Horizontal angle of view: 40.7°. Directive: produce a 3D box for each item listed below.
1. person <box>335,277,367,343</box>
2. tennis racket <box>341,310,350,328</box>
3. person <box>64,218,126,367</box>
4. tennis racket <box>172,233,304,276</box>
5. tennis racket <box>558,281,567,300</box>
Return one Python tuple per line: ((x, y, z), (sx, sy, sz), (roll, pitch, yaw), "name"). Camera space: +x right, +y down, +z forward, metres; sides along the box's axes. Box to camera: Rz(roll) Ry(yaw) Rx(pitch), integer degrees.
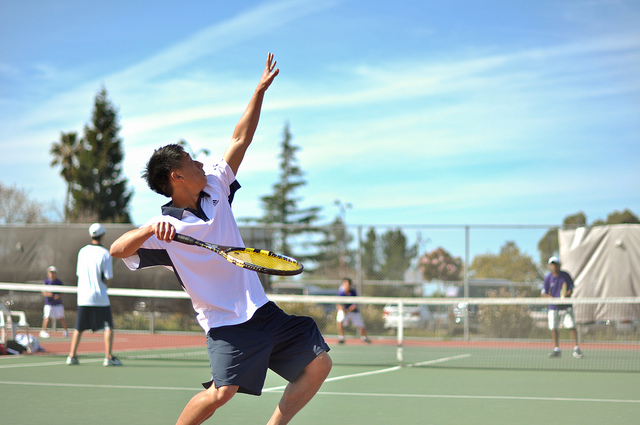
((0.807, 2.632, 23.613), (0.730, 1.781, 0.700), (-1, 4, 3), "person")
((0.692, 2.917, 23.600), (0.198, 0.550, 0.723), (1, 3, 5), "tennis racket")
((-4.989, 1.714, 18.889), (1.141, 3.134, 0.890), (1, 2, -1), "person")
((-1.145, 0.661, 13.070), (1.799, 0.631, 0.687), (0, 3, -10), "tennis racket")
((6.012, 1.914, 21.258), (0.096, 0.379, 0.264), (14, -12, 30), "tennis racket")
